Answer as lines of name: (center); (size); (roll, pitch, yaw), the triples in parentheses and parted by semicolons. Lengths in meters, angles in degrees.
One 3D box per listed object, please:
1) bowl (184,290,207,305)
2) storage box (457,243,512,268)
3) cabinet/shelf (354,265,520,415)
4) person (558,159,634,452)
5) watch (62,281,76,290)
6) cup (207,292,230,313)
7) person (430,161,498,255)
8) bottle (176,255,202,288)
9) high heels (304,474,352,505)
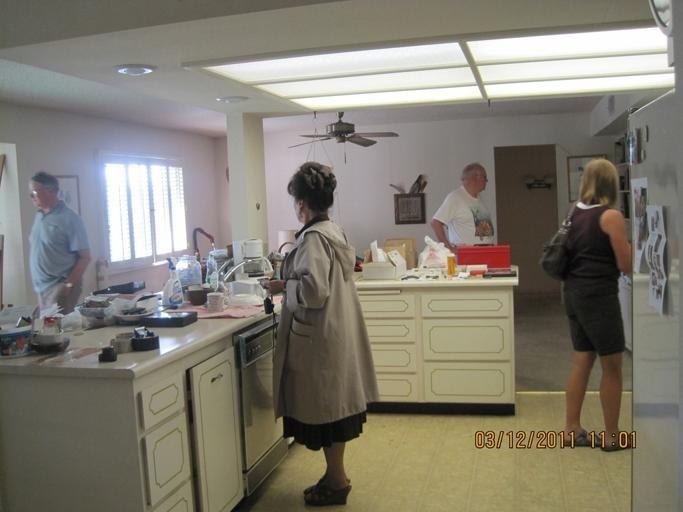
bowl: (-0.919, 0.251, 3.268); (0.099, 0.073, 0.100); (-1, 1, 0)
storage box: (1.159, 0.001, 4.268); (0.428, 0.168, 0.291); (-2, 6, 14)
cabinet/shelf: (0.729, 0.671, 4.321); (1.528, 1.446, 0.942); (-1, 0, 12)
person: (1.600, 0.318, 3.260); (0.379, 1.835, 0.360); (-1, 6, 24)
watch: (-2.664, 0.278, 5.060); (0.087, 0.063, 0.055); (-10, 8, -43)
cup: (-0.748, 0.285, 3.149); (0.122, 0.094, 0.082); (-1, 2, 0)
person: (1.333, -0.564, 5.762); (0.592, 0.882, 0.564); (-1, 6, 25)
bottle: (-1.073, 0.113, 3.622); (0.177, 0.312, 0.166); (-3, -3, 0)
high heels: (-0.092, 1.358, 3.007); (0.232, 0.113, 0.134); (2, -1, 3)
